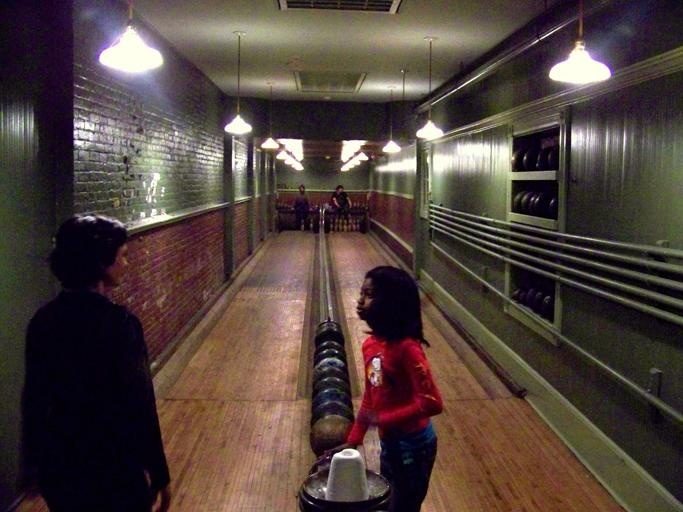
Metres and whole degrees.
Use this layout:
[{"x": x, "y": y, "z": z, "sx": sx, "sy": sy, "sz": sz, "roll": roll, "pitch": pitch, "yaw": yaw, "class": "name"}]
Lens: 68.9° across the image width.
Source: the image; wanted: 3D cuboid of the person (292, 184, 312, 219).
[{"x": -1.646, "y": -2.216, "z": 20.497, "sx": 0.637, "sy": 1.414, "sz": 0.488, "roll": 0, "pitch": 9, "yaw": -7, "class": "person"}]

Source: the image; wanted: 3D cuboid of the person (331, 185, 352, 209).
[{"x": -0.047, "y": -2.496, "z": 20.788, "sx": 0.714, "sy": 0.901, "sz": 1.322, "roll": 0, "pitch": 10, "yaw": -2, "class": "person"}]
